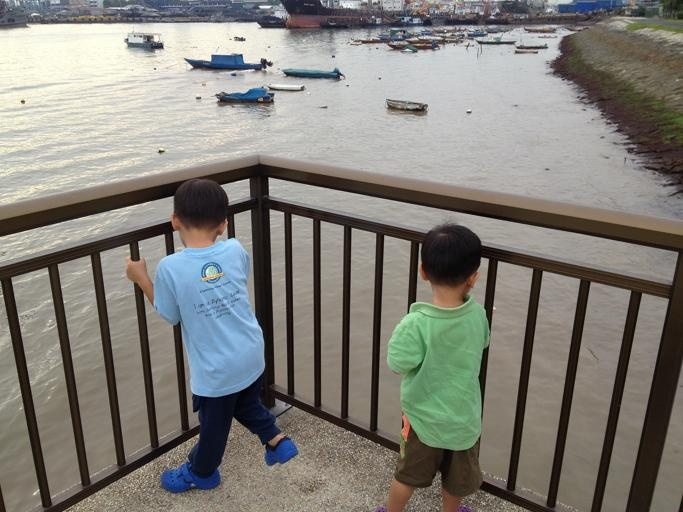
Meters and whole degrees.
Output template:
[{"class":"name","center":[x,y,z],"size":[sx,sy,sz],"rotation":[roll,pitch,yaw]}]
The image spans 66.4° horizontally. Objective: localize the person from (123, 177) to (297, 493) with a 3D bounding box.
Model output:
[{"class":"person","center":[-0.549,0.376,2.451],"size":[0.796,1.413,0.599],"rotation":[7,18,18]}]

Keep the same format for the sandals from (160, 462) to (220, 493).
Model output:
[{"class":"sandals","center":[-0.743,1.080,2.578],"size":[0.263,0.114,0.130],"rotation":[6,21,-15]}]
